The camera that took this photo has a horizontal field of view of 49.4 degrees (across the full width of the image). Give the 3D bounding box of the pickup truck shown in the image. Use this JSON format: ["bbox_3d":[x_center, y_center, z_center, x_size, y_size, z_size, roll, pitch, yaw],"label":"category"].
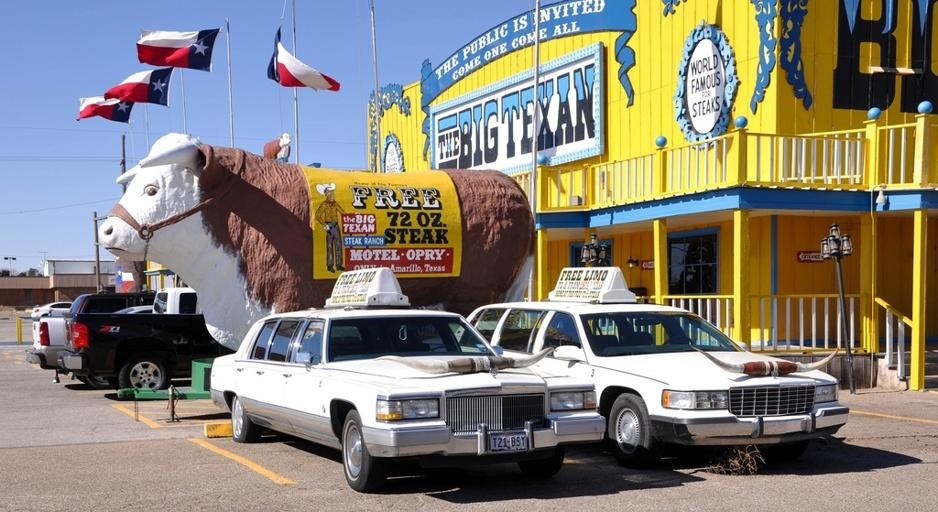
[{"bbox_3d":[-8.996,2.187,27.126,4.946,1.786,2.759,-1,0,-31],"label":"pickup truck"}]

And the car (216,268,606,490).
[{"bbox_3d":[-2.028,2.277,20.724,3.986,2.636,6.577,0,-1,-33],"label":"car"}]
